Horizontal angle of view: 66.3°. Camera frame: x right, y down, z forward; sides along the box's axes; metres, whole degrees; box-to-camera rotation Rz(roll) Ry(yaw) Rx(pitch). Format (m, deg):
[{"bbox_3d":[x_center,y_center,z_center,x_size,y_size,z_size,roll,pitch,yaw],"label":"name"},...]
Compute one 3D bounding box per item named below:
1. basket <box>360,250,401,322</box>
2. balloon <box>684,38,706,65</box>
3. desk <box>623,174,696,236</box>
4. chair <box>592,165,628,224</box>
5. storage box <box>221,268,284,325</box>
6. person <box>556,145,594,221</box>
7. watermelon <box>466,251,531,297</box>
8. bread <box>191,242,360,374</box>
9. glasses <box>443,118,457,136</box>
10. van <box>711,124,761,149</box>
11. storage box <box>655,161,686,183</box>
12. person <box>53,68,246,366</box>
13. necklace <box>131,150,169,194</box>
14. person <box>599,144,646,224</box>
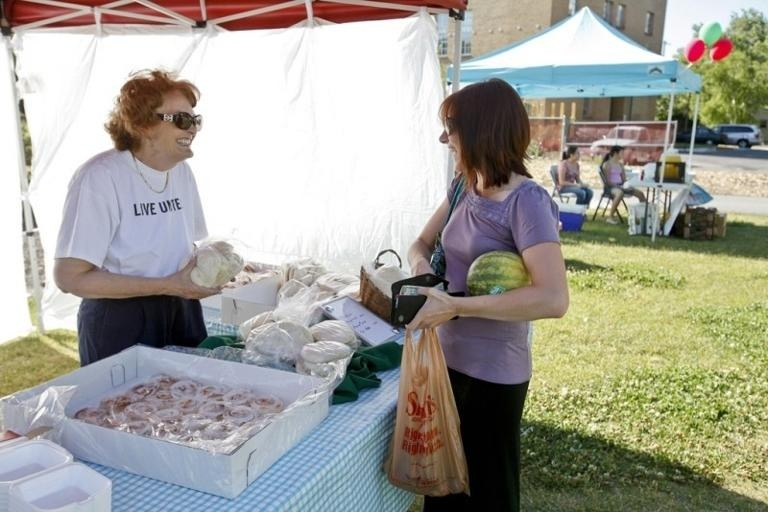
[{"bbox_3d":[0.013,0.145,4.260,0.280,0.439,0.438,14,9,8],"label":"basket"},{"bbox_3d":[6.186,-4.096,11.636,0.321,0.493,0.519,4,6,23],"label":"balloon"},{"bbox_3d":[5.775,-1.523,12.240,1.071,1.042,2.571,6,12,32],"label":"desk"},{"bbox_3d":[5.312,-1.594,13.316,0.831,1.255,0.835,9,13,36],"label":"chair"},{"bbox_3d":[-1.066,0.303,4.582,0.362,0.350,0.481,3,7,13],"label":"storage box"},{"bbox_3d":[4.313,-1.655,13.163,0.591,1.528,0.857,-8,12,-32],"label":"person"},{"bbox_3d":[0.608,0.093,3.093,0.323,0.236,0.136,2,6,13],"label":"watermelon"},{"bbox_3d":[-0.581,0.396,3.696,0.809,0.314,0.864,3,27,-44],"label":"bread"},{"bbox_3d":[0.373,-0.708,3.235,0.072,0.076,0.088,-1,-2,-36],"label":"glasses"},{"bbox_3d":[20.912,-7.110,34.544,2.602,1.053,1.261,17,21,20],"label":"van"},{"bbox_3d":[5.600,-1.627,11.447,0.538,0.436,0.332,4,6,26],"label":"storage box"},{"bbox_3d":[-1.403,-0.188,3.633,0.850,2.105,0.725,2,3,25],"label":"person"},{"bbox_3d":[-1.421,-0.506,3.583,0.058,0.241,0.173,-6,2,44],"label":"necklace"},{"bbox_3d":[5.314,-1.604,13.138,0.629,1.534,1.029,-5,16,-1],"label":"person"}]
